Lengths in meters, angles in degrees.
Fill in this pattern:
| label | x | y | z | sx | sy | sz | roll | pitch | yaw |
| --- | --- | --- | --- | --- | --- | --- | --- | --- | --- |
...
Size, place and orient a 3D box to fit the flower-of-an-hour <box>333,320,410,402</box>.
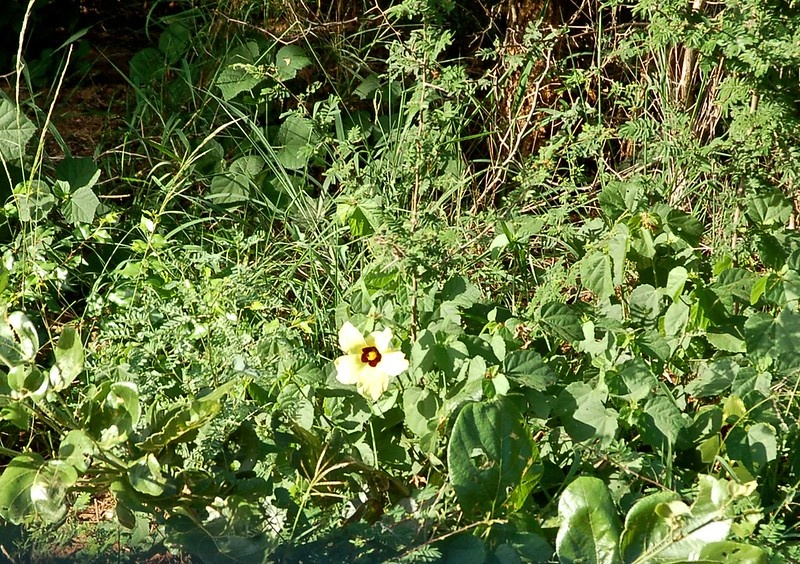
| label | x | y | z | sx | sy | sz | roll | pitch | yaw |
| --- | --- | --- | --- | --- | --- | --- | --- | --- | --- |
| flower-of-an-hour | -0.066 | 0.185 | 1.620 | 0.155 | 0.217 | 0.181 | -5 | 22 | -3 |
